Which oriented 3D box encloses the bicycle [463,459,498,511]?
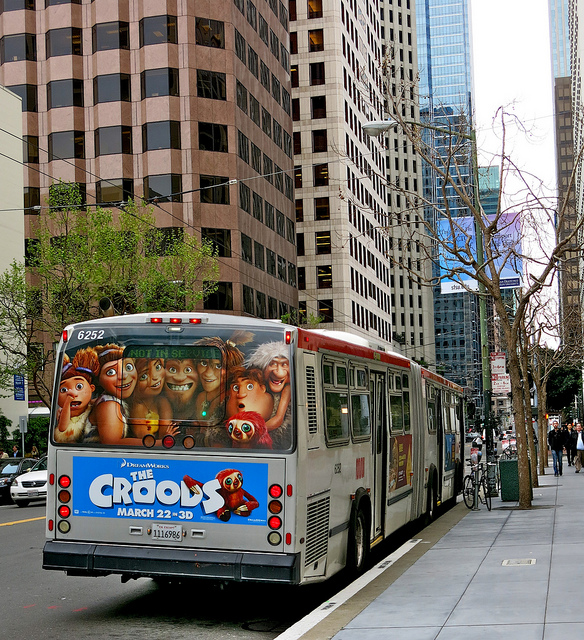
[{"bbox_3d":[3.718,3.368,19.124,0.489,0.887,1.352,-2,-16,-10],"label":"bicycle"}]

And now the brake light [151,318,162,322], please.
[{"bbox_3d":[-1.270,0.005,8.580,0.047,0.038,0.053,-1,-4,10],"label":"brake light"}]

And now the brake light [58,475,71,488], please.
[{"bbox_3d":[-2.143,1.518,8.656,0.152,0.115,0.010,14,3,29],"label":"brake light"}]

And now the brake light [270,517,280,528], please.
[{"bbox_3d":[-0.144,1.745,7.928,0.072,0.090,0.019,2,-5,-4],"label":"brake light"}]

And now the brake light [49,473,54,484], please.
[{"bbox_3d":[-2.286,1.505,8.747,0.089,0.097,0.011,13,3,43],"label":"brake light"}]

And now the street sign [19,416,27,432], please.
[{"bbox_3d":[-9.721,3.797,33.172,0.259,0.521,0.721,11,2,-18],"label":"street sign"}]

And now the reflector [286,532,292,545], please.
[{"bbox_3d":[-0.028,1.867,7.870,0.049,0.099,0.019,11,1,6],"label":"reflector"}]

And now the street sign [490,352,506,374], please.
[{"bbox_3d":[5.225,1.129,23.308,0.461,0.551,1.174,12,1,12],"label":"street sign"}]

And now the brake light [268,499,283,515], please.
[{"bbox_3d":[-0.138,1.618,7.951,0.087,0.105,0.029,14,-9,6],"label":"brake light"}]

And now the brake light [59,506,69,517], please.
[{"bbox_3d":[-2.134,1.789,8.616,0.075,0.093,0.020,1,0,-2],"label":"brake light"}]

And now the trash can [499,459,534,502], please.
[{"bbox_3d":[4.560,3.394,19.387,0.449,0.948,0.529,11,1,24],"label":"trash can"}]

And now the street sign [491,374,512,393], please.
[{"bbox_3d":[5.267,1.619,23.188,0.521,0.494,0.626,13,1,20],"label":"street sign"}]

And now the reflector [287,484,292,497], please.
[{"bbox_3d":[-0.020,1.464,7.935,0.047,0.103,0.016,11,1,8],"label":"reflector"}]

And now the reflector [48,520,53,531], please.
[{"bbox_3d":[-2.271,1.926,8.651,0.075,0.095,0.013,13,3,38],"label":"reflector"}]

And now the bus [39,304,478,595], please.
[{"bbox_3d":[0.563,1.833,13.448,2.212,3.277,11.313,-2,-7,18],"label":"bus"}]

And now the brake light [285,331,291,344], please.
[{"bbox_3d":[-0.033,0.160,8.243,0.050,0.110,0.025,11,1,4],"label":"brake light"}]

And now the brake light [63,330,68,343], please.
[{"bbox_3d":[-2.196,0.158,8.905,0.032,0.116,0.119,10,2,-27],"label":"brake light"}]

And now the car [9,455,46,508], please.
[{"bbox_3d":[-7.262,4.541,25.754,0.698,0.834,1.774,-2,-12,-1],"label":"car"}]

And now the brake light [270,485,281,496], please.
[{"bbox_3d":[-0.141,1.478,7.974,0.066,0.079,0.017,-17,-2,0],"label":"brake light"}]
